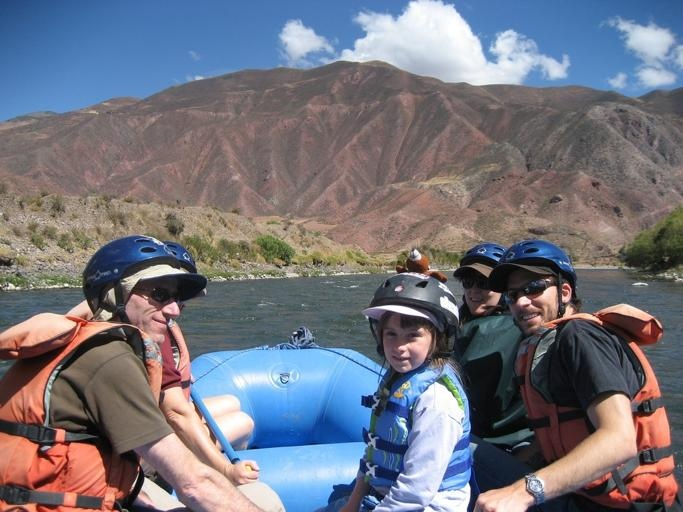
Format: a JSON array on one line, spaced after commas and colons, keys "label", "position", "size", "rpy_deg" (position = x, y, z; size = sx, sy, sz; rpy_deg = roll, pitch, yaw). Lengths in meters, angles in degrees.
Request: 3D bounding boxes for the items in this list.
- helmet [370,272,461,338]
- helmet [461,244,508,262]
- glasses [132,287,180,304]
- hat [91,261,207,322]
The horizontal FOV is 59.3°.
[{"label": "helmet", "position": [0.475, 0.310, 3.715], "size": [0.390, 0.298, 0.495], "rpy_deg": [8, -5, 32]}, {"label": "helmet", "position": [1.342, -0.042, 5.474], "size": [0.320, 0.113, 0.217], "rpy_deg": [10, -26, -9]}, {"label": "glasses", "position": [-1.189, 0.252, 3.878], "size": [0.145, 0.041, 0.137], "rpy_deg": [12, -2, 20]}, {"label": "hat", "position": [-1.274, 0.204, 3.918], "size": [0.656, 0.223, 0.391], "rpy_deg": [-22, -8, -11]}]
